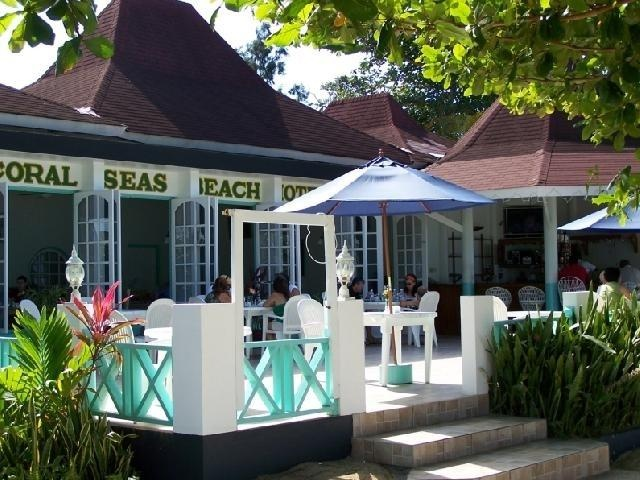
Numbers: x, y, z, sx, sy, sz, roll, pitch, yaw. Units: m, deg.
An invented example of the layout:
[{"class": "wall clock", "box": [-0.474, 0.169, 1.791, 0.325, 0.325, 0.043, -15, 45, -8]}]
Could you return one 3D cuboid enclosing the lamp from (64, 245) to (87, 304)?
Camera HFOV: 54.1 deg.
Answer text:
[{"class": "lamp", "box": [-2.397, 0.323, 6.084, 0.171, 0.584, 0.178, -2, -3, -17]}]
